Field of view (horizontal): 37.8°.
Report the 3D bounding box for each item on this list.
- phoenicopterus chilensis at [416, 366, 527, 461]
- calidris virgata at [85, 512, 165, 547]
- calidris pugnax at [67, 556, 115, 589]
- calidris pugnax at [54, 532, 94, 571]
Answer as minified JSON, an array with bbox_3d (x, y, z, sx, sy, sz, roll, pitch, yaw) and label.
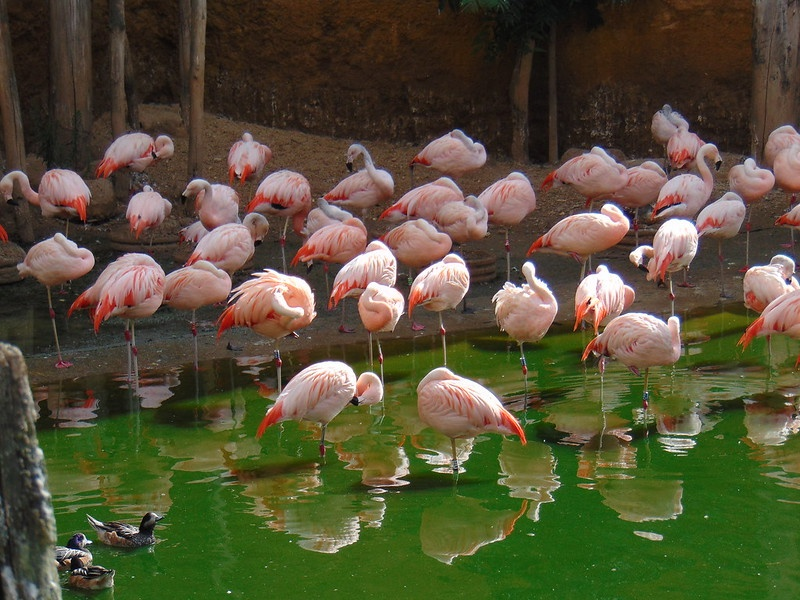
[{"bbox_3d":[0.545,0.791,9.146,0.820,0.725,0.762,-3,18,-7],"label":"phoenicopterus chilensis"},{"bbox_3d":[-1.965,1.650,8.460,0.501,0.276,0.239,7,-5,10],"label":"calidris virgata"},{"bbox_3d":[-2.172,1.913,8.177,0.312,0.193,0.174,-7,-12,40],"label":"calidris pugnax"},{"bbox_3d":[-2.372,1.783,8.307,0.401,0.214,0.219,-3,14,-34],"label":"calidris pugnax"}]
